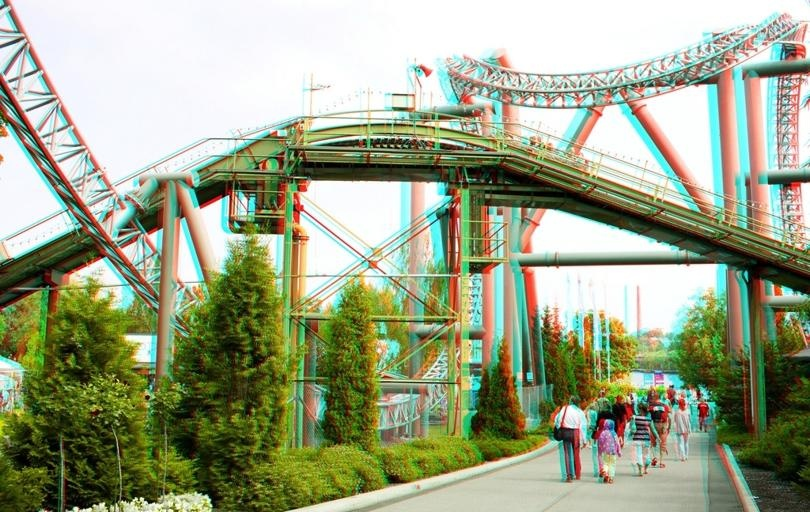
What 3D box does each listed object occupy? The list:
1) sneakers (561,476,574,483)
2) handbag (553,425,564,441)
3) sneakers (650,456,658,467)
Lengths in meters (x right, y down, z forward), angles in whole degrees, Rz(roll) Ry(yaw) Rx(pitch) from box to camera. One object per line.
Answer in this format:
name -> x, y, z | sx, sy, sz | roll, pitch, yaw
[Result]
sneakers -> 5.354, 7.294, 29.205 | 0.135, 0.313, 0.432 | -8, -15, 36
handbag -> 4.954, 5.717, 28.965 | 0.283, 0.440, 0.390 | -5, -25, 8
sneakers -> 8.952, 7.407, 32.210 | 0.219, 0.356, 0.156 | -5, -16, 19
